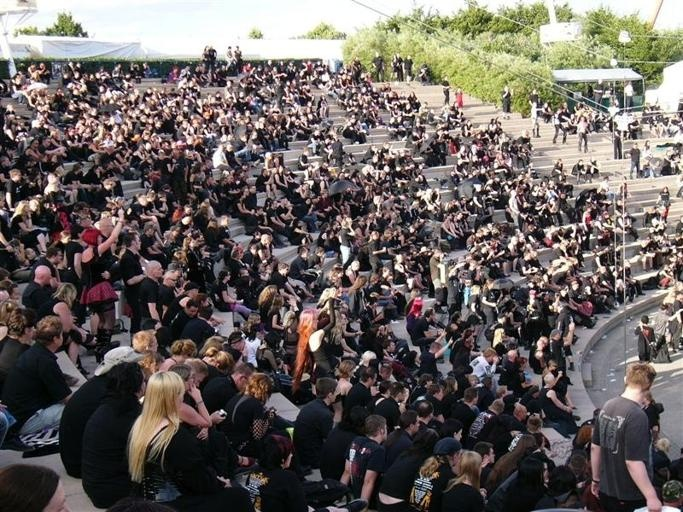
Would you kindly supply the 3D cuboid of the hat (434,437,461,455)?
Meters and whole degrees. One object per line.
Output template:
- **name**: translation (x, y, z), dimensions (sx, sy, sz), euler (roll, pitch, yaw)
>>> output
- **hat**: translation (1.192, 2.147, 7.516), dimensions (0.299, 0.180, 0.185), euler (0, 13, 3)
